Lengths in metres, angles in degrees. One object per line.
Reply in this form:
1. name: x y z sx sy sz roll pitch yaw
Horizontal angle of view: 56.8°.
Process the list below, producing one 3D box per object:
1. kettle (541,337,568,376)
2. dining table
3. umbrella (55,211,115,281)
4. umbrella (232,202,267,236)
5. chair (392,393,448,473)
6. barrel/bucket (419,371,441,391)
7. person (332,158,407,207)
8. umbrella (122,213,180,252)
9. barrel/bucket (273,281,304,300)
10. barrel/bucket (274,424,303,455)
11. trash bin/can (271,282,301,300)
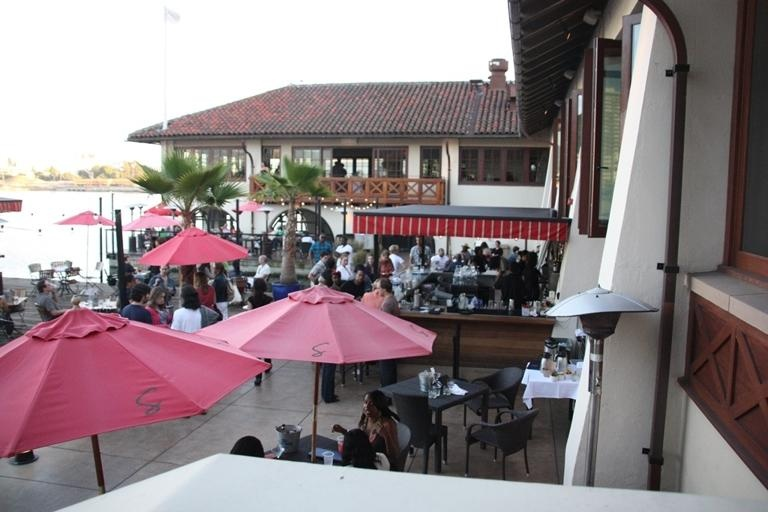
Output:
1. kettle: 2.785 1.666 11.670 0.568 0.625 0.402 -1 4 8
2. dining table: 0.842 2.375 11.077 1.231 1.074 1.317 2 2 44
3. umbrella: -8.876 -0.632 21.906 1.201 1.499 1.284 -11 -5 4
4. umbrella: -5.670 -1.691 30.009 1.422 1.251 1.490 -1 1 -4
5. chair: 0.529 2.647 10.823 0.689 1.343 0.895 6 11 29
6. barrel/bucket: 0.710 1.924 10.996 0.249 0.254 0.323 -1 -5 -8
7. person: -0.545 -2.766 30.164 3.538 1.215 0.837 2 5 26
8. umbrella: -8.186 -0.829 25.010 1.704 0.890 1.865 0 5 -2
9. barrel/bucket: -2.324 0.812 16.928 0.628 0.653 0.803 -1 -2 1
10. barrel/bucket: -1.213 2.342 9.128 0.277 0.257 0.329 0 -5 -8
11. trash bin/can: -2.431 0.838 17.567 0.638 0.529 0.636 2 4 34
